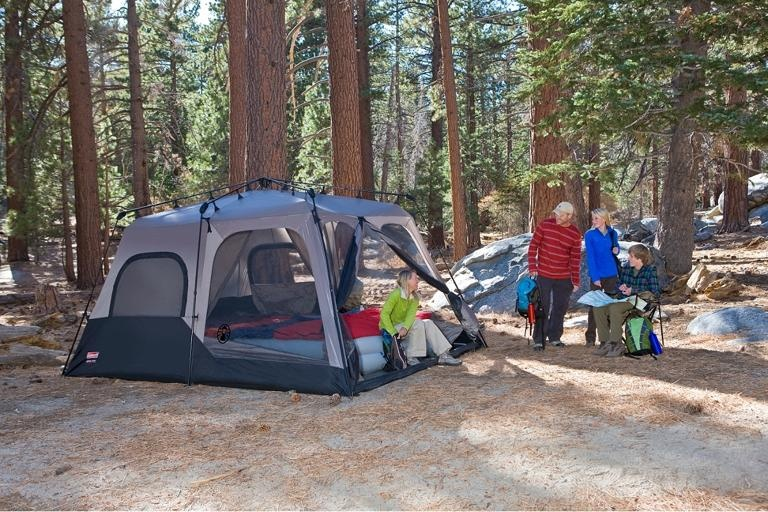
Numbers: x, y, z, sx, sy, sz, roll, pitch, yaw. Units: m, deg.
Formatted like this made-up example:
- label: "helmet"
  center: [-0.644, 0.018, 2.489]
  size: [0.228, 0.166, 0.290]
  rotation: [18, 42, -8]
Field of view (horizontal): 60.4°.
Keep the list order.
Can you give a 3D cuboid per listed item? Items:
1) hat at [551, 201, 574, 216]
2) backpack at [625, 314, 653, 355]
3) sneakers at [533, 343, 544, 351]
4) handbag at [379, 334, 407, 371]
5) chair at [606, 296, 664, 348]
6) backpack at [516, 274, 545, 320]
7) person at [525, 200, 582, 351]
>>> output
- label: "hat"
  center: [3.232, -0.854, 11.807]
  size: [0.357, 0.171, 0.243]
  rotation: [-1, 6, -17]
- label: "backpack"
  center: [4.352, 1.319, 11.397]
  size: [0.512, 0.667, 0.382]
  rotation: [-7, 16, 13]
- label: "sneakers"
  center: [2.808, 1.653, 11.928]
  size: [0.156, 0.126, 0.050]
  rotation: [-3, -8, 10]
- label: "handbag"
  center: [0.161, 1.605, 11.148]
  size: [0.391, 0.686, 0.177]
  rotation: [-2, 2, 12]
- label: "chair"
  center: [4.469, 1.239, 11.654]
  size: [0.975, 0.999, 1.155]
  rotation: [-6, -9, 22]
- label: "backpack"
  center: [2.604, 0.726, 11.830]
  size: [0.412, 0.727, 0.219]
  rotation: [-2, 2, 9]
- label: "person"
  center: [3.108, 0.345, 11.934]
  size: [0.918, 2.630, 0.542]
  rotation: [-2, 2, 9]
